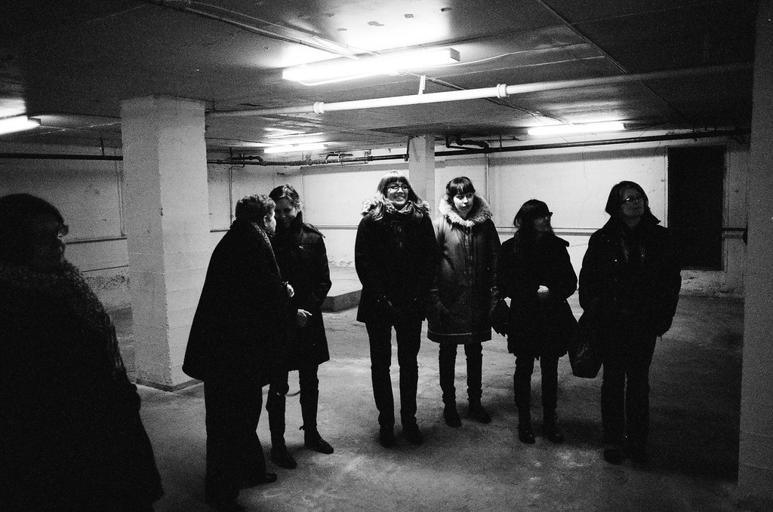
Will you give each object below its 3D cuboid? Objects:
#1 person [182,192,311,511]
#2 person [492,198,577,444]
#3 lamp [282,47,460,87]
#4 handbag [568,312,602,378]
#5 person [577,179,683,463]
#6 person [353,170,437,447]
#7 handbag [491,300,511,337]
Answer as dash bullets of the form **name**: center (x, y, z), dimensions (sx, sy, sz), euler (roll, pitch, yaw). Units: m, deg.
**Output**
- **person**: center (-0.960, 0.637, 3.964), dimensions (0.653, 2.044, 0.353), euler (-12, 16, -42)
- **person**: center (1.173, 0.506, 4.746), dimensions (0.627, 1.880, 0.531), euler (2, 12, 16)
- **lamp**: center (-0.171, -1.642, 5.102), dimensions (1.608, 0.208, 0.344), euler (5, 12, 30)
- **handbag**: center (1.486, 0.649, 4.447), dimensions (0.252, 0.485, 0.208), euler (9, -5, -18)
- **person**: center (1.752, 0.488, 4.391), dimensions (0.465, 2.041, 0.583), euler (-13, 16, -43)
- **person**: center (0.112, 0.417, 4.762), dimensions (0.670, 2.101, 0.561), euler (-6, 12, -20)
- **handbag**: center (0.919, 0.500, 4.854), dimensions (0.093, 0.248, 0.198), euler (5, -5, 27)
